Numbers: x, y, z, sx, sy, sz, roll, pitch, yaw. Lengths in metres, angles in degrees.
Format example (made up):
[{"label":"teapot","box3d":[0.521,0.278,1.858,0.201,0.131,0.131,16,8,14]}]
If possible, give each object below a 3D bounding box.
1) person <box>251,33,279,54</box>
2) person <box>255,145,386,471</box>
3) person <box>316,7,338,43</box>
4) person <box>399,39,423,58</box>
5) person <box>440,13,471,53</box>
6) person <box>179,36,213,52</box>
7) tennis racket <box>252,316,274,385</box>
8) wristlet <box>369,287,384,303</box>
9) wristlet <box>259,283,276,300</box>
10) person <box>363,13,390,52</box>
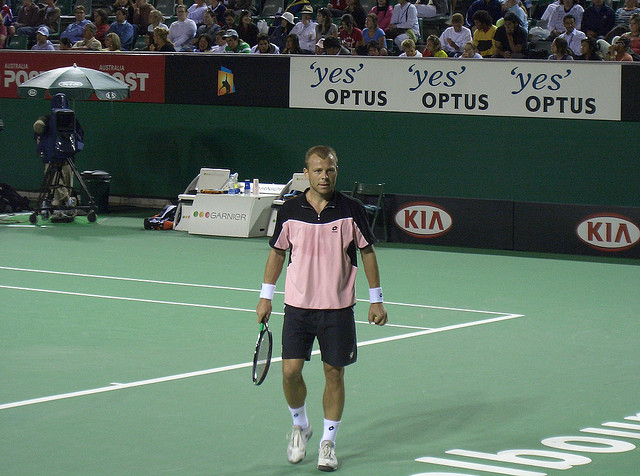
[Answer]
[{"label":"person","box3d":[-1.485,-5.127,17.610,0.516,0.605,0.770,-1,7,0]},{"label":"person","box3d":[0.007,0.537,5.204,0.996,2.472,0.635,1,9,5]},{"label":"person","box3d":[0.176,-5.621,17.469,0.663,0.889,0.749,2,9,10]},{"label":"person","box3d":[2.170,-4.558,15.929,0.434,0.496,0.997,2,9,6]},{"label":"person","box3d":[3.421,-5.150,17.004,0.743,1.112,0.627,12,27,24]},{"label":"person","box3d":[-3.361,-5.350,18.134,0.800,0.344,0.622,-2,7,-5]},{"label":"tennis racket","box3d":[-0.514,1.041,6.013,0.061,0.322,0.798,12,5,-10]},{"label":"wristlet","box3d":[0.460,0.473,5.349,0.132,0.146,0.130,-1,3,-7]},{"label":"wristlet","box3d":[-0.435,0.424,5.399,0.121,0.144,0.130,8,-3,12]},{"label":"person","box3d":[1.443,-5.200,17.039,0.659,0.827,1.805,1,9,5]}]
